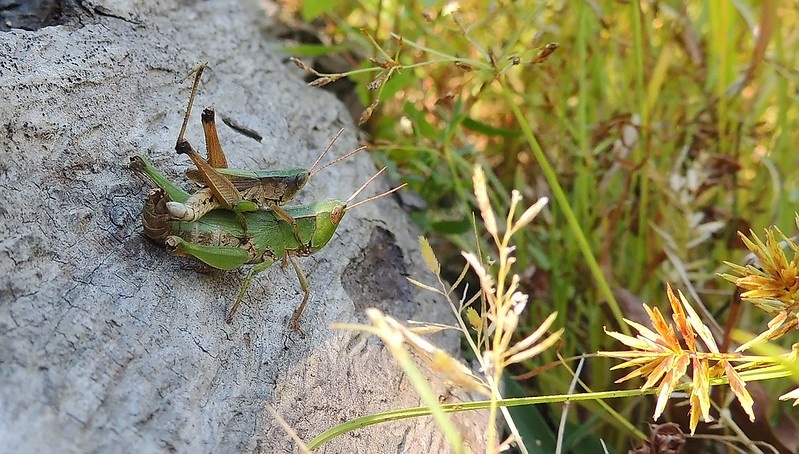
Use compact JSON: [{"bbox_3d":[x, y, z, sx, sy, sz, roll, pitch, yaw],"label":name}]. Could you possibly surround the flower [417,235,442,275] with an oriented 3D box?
[{"bbox_3d":[0.068,0.061,1.772,0.038,0.013,0.115,-32,61,11],"label":"flower"}]
